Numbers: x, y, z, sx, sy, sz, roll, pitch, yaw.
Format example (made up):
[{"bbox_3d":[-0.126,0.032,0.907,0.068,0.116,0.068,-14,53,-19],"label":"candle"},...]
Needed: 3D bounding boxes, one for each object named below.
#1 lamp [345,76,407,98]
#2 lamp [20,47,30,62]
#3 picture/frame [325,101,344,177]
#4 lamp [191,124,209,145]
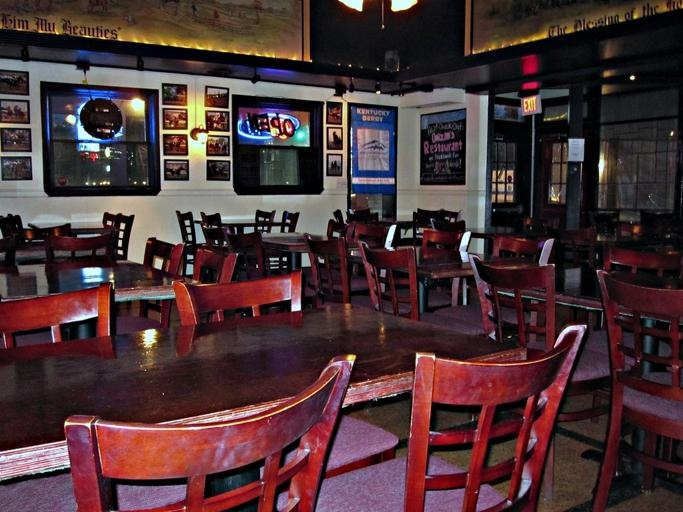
[{"bbox_3d":[0.514,-2.706,9.093,0.960,0.244,1.715,1,8,0],"label":"lamp"},{"bbox_3d":[-3.839,-2.459,6.741,0.088,0.141,0.594,-4,9,-28],"label":"lamp"},{"bbox_3d":[-0.119,-2.027,9.652,0.359,1.265,0.056,-5,10,-32],"label":"picture/frame"},{"bbox_3d":[-2.111,-1.830,8.391,0.259,0.298,0.227,-5,7,-39],"label":"lamp"}]
